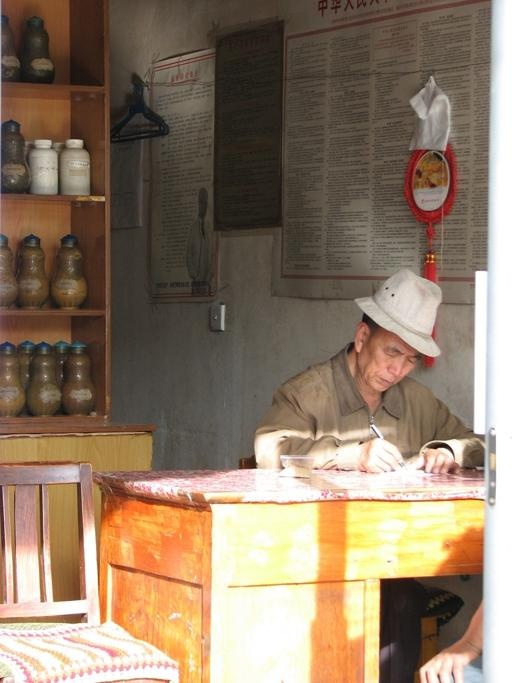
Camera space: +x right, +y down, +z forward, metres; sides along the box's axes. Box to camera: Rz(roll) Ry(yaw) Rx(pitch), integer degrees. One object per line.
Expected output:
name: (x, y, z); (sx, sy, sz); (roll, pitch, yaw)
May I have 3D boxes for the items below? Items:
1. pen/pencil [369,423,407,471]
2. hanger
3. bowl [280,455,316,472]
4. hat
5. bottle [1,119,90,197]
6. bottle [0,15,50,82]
pen/pencil: (0.394, 0.317, 2.203); (0.020, 0.157, 0.022); (-31, -10, -23)
hanger: (-0.687, -1.414, 4.434); (0.524, 0.468, 0.078); (4, 10, 40)
bowl: (0.094, 0.270, 1.651); (0.052, 0.018, 0.048); (0, -5, 0)
hat: (0.483, -0.112, 2.407); (0.305, 0.162, 0.270); (37, 18, 23)
bottle: (-0.862, -0.757, 3.156); (0.443, 0.399, 0.252); (1, 0, -18)
bottle: (-0.950, -1.216, 3.048); (0.203, 0.293, 0.117); (-1, 1, -14)
